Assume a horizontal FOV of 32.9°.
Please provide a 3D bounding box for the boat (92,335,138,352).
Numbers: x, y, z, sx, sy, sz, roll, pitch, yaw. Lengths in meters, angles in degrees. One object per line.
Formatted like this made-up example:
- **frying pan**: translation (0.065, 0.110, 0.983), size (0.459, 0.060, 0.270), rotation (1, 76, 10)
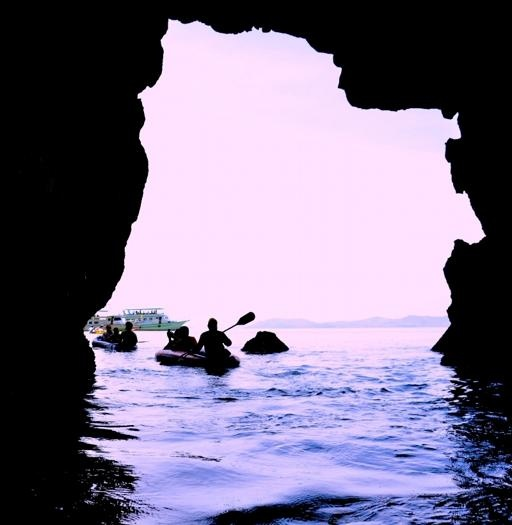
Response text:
- **boat**: translation (-6.140, 3.571, 36.971), size (1.030, 0.485, 3.486), rotation (-7, 1, -23)

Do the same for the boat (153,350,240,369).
- **boat**: translation (-1.740, 2.594, 22.872), size (1.425, 0.233, 0.886), rotation (2, -2, 38)
